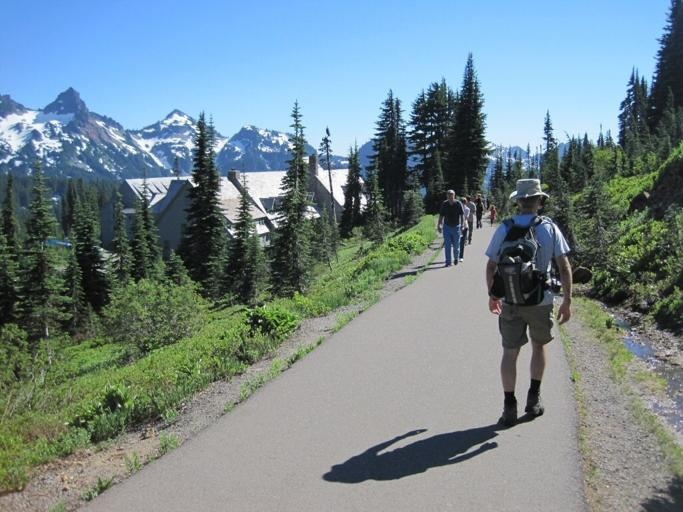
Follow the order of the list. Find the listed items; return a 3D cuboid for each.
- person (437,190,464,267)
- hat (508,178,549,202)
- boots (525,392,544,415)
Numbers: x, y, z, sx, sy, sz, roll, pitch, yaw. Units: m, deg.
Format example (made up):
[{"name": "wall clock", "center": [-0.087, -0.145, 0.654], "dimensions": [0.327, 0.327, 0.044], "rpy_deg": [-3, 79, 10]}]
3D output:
[{"name": "person", "center": [3.788, -0.941, 19.123], "dimensions": [0.904, 2.647, 0.816], "rpy_deg": [-1, 1, -16]}, {"name": "hat", "center": [3.087, -1.100, 9.071], "dimensions": [0.513, 0.333, 0.515], "rpy_deg": [5, 7, 11]}, {"name": "boots", "center": [3.203, 2.454, 9.247], "dimensions": [0.225, 0.406, 0.367], "rpy_deg": [4, 13, 37]}]
